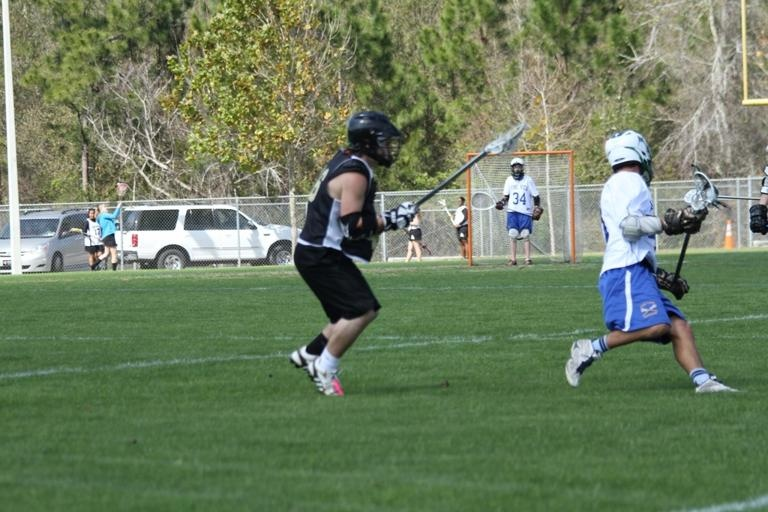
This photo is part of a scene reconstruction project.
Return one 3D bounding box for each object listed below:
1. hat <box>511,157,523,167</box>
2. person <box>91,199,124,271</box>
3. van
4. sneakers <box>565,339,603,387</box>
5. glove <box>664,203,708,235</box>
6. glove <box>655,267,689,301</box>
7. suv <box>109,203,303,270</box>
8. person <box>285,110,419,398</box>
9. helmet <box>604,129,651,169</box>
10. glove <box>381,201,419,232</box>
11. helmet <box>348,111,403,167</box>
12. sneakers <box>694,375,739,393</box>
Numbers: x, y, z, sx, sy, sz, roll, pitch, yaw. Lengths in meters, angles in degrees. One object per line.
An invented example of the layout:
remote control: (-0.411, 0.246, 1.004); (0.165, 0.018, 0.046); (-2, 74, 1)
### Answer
hat: (2.653, -1.858, 21.334); (0.202, 0.144, 0.280); (-1, -16, 6)
person: (-6.868, -0.490, 26.966); (0.696, 1.550, 1.801); (-2, 1, -15)
van: (-8.811, -0.373, 27.959); (1.295, 1.059, 2.267); (-2, -3, 13)
sneakers: (1.867, 0.974, 10.109); (0.275, 0.553, 0.205); (10, -7, 14)
glove: (2.778, -0.326, 9.987); (0.355, 0.253, 0.173); (-11, 16, 3)
glove: (2.748, 0.255, 10.267); (0.348, 0.122, 0.251); (36, 18, 9)
suv: (-4.626, -0.513, 28.413); (4.125, 1.503, 1.949); (-4, 1, -6)
person: (-0.340, -0.033, 10.220); (1.054, 2.232, 0.589); (-2, 1, -4)
helmet: (2.332, -0.999, 10.242); (0.311, 0.356, 0.433); (3, 14, 42)
glove: (0.111, -0.359, 10.461); (0.146, 0.191, 0.514); (-2, 14, 41)
helmet: (-0.103, -1.132, 10.454); (0.554, 0.488, 0.463); (0, 4, -9)
sneakers: (2.963, 1.152, 9.694); (0.443, 0.175, 0.145); (-1, -4, -5)
